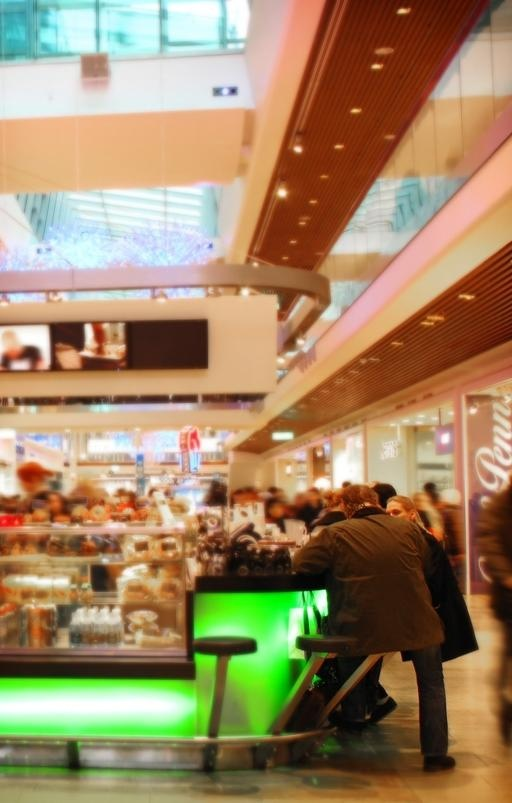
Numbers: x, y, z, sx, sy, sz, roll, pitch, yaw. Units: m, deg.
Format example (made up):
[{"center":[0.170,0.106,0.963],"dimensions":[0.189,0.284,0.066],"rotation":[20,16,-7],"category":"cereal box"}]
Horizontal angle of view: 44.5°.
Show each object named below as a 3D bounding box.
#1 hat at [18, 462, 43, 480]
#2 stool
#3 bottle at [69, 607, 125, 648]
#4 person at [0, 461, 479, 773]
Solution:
[{"center":[-1.620,0.490,4.493],"dimensions":[0.132,0.078,0.135],"rotation":[3,0,4],"category":"hat"},{"center":[0.059,1.397,2.933],"dimensions":[0.677,0.649,0.622],"rotation":[-4,-6,-8],"category":"stool"},{"center":[-0.845,1.198,3.387],"dimensions":[0.218,0.141,0.214],"rotation":[0,-5,0],"category":"bottle"},{"center":[-0.122,1.039,3.137],"dimensions":[1.769,0.796,1.419],"rotation":[1,-5,2],"category":"person"}]
